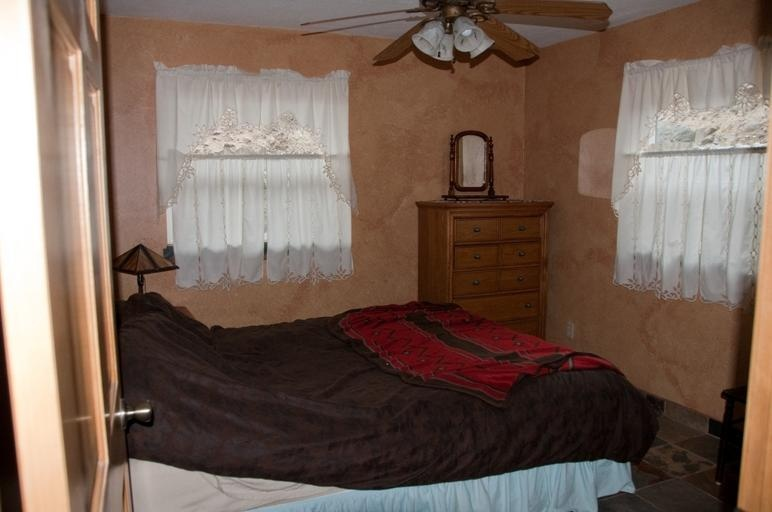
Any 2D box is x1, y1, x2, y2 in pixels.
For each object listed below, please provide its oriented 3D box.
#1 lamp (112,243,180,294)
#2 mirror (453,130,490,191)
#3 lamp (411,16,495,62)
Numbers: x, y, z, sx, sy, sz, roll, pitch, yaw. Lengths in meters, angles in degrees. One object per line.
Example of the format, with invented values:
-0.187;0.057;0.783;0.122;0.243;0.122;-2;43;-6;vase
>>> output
-1.621;0.009;3.952;0.377;0.359;0.375;12;16;38;lamp
0.788;-0.873;5.482;0.407;0.555;0.103;-8;14;-18;mirror
0.351;-1.113;3.038;0.381;0.183;0.327;-9;14;-24;lamp
